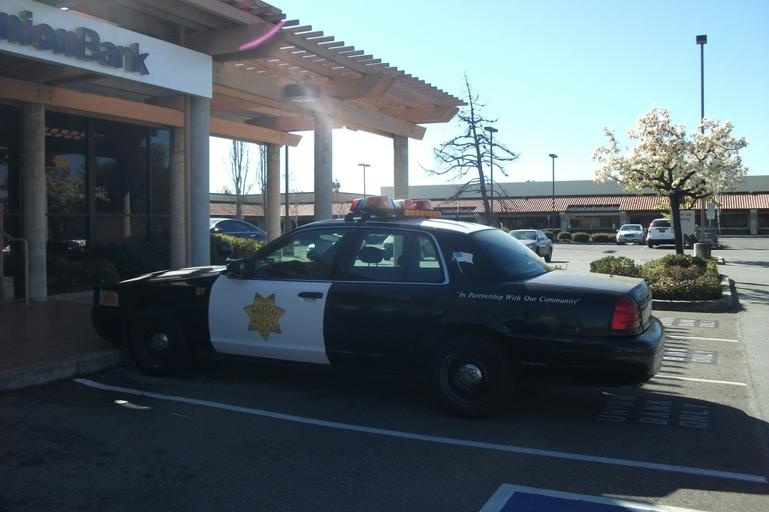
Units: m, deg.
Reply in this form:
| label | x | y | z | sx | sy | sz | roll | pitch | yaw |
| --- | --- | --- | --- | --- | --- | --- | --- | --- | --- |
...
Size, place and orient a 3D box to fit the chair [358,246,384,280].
| label | x | y | z | sx | sy | sz | roll | pitch | yaw |
| --- | --- | --- | --- | --- | --- | --- | --- | --- | --- |
| chair | -0.091 | 0.103 | 8.094 | 0.341 | 0.422 | 0.397 | 2 | -1 | 6 |

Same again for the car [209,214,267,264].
| label | x | y | z | sx | sy | sz | roll | pitch | yaw |
| --- | --- | --- | --- | --- | --- | --- | --- | --- | --- |
| car | -5.274 | -0.571 | 22.259 | 1.381 | 1.021 | 3.110 | -2 | -4 | 35 |
